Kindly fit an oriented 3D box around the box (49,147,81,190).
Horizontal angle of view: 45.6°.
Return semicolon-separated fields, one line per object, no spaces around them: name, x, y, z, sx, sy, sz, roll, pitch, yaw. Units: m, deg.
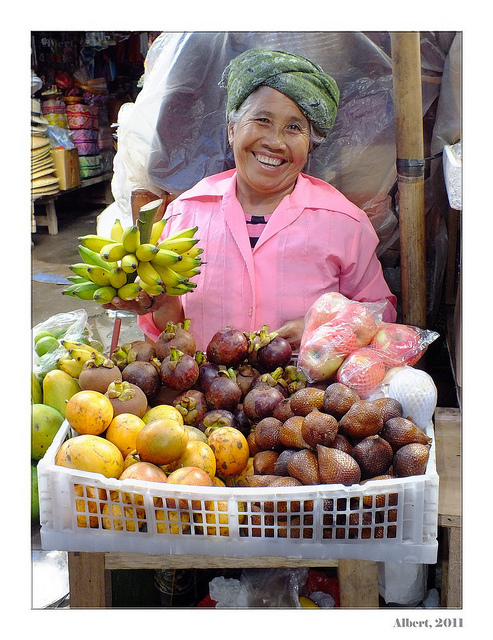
box;-1.866;-1.544;5.954;0.217;0.445;0.561;-3;8;-5

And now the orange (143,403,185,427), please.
orange;-0.198;0.228;1.428;0.065;0.075;0.059;1;48;4

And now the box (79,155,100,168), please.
box;-1.754;-1.769;6.533;0.154;0.110;0.159;14;31;27

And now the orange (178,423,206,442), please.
orange;-0.132;0.269;1.412;0.064;0.038;0.044;8;-20;13

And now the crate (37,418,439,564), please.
crate;-0.024;0.410;1.278;0.878;0.236;0.187;-1;8;4

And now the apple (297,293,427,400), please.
apple;0.324;0.047;1.625;0.291;0.119;0.299;31;42;32

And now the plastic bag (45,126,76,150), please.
plastic bag;-1.886;-1.836;5.942;0.207;0.261;0.402;-1;8;3

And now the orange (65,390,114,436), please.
orange;-0.370;0.223;1.384;0.103;0.099;0.068;-4;8;-19

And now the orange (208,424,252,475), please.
orange;-0.039;0.303;1.411;0.100;0.098;0.138;-2;8;-1

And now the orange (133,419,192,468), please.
orange;-0.187;0.272;1.285;0.106;0.103;0.047;-3;8;-9

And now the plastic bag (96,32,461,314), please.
plastic bag;0.823;-0.879;3.117;0.830;1.545;1.166;-7;16;-23

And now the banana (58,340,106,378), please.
banana;-0.497;0.117;1.718;0.074;0.091;0.260;2;-13;-33

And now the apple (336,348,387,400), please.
apple;0.304;0.118;1.588;0.181;0.120;0.117;-16;20;-34

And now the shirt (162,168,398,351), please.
shirt;0.073;-0.221;2.507;1.087;0.838;0.531;5;7;6

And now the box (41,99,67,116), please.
box;-2.005;-2.188;6.080;0.173;0.104;0.166;-1;18;-11

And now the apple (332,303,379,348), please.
apple;0.313;0.024;1.743;0.122;0.132;0.126;-5;13;32

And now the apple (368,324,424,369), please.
apple;0.439;0.079;1.711;0.161;0.092;0.175;-14;30;-1
